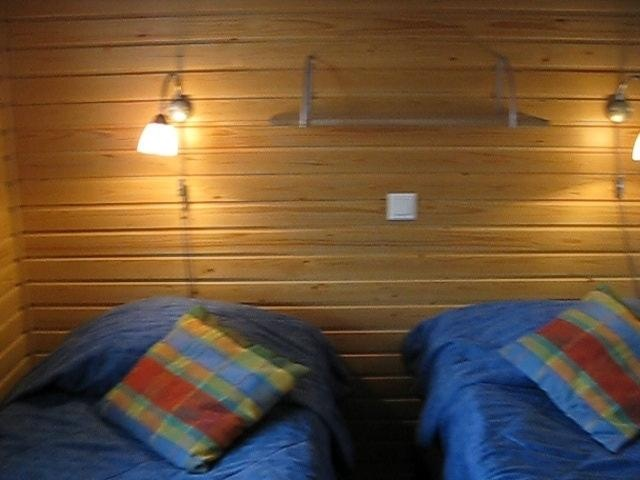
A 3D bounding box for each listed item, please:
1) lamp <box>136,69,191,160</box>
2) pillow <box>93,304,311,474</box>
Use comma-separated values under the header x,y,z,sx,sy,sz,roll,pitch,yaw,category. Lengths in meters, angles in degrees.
x,y,z,sx,sy,sz,roll,pitch,yaw,category
-0.785,-0.607,3.188,0.201,0.441,0.430,17,-57,-6,lamp
-0.465,0.573,2.376,0.601,0.573,0.127,29,-35,27,pillow
